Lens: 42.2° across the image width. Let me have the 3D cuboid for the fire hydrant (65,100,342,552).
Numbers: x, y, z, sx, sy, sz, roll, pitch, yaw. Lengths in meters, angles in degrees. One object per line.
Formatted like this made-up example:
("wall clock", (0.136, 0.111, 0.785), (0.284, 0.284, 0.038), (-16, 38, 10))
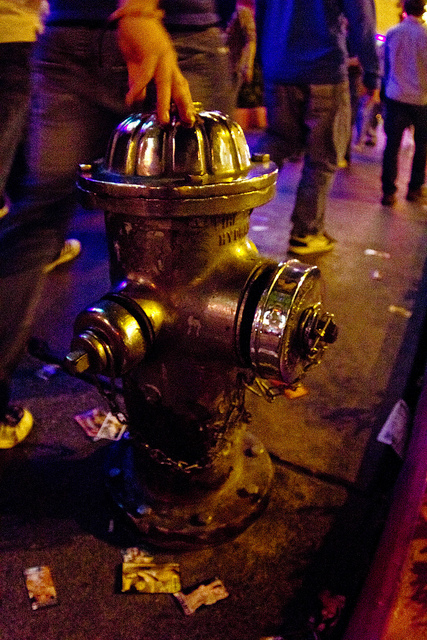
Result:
("fire hydrant", (-0.017, 0.043, 1.557), (0.696, 1.128, 0.488), (0, 15, 4))
